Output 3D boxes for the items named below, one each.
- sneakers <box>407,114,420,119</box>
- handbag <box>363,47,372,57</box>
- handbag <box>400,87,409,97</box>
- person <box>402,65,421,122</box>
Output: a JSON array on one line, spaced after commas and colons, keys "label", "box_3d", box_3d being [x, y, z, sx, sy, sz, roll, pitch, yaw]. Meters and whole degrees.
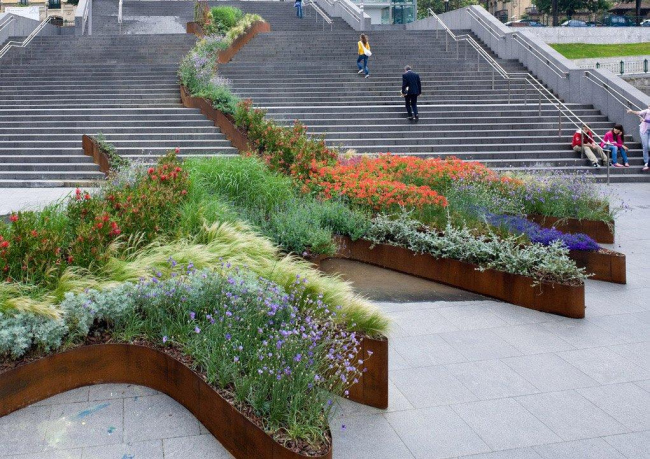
[{"label": "sneakers", "box_3d": [2.513, -3.244, 18.790, 0.127, 0.206, 0.378, -9, 10, -42]}, {"label": "handbag", "box_3d": [1.431, -5.963, 21.827, 0.183, 0.265, 0.580, 5, 23, 18]}, {"label": "handbag", "box_3d": [2.217, -3.912, 18.497, 0.172, 0.293, 0.357, -11, 22, -25]}, {"label": "person", "box_3d": [2.430, -3.907, 18.559, 0.474, 1.651, 1.334, 1, 20, 9]}]
